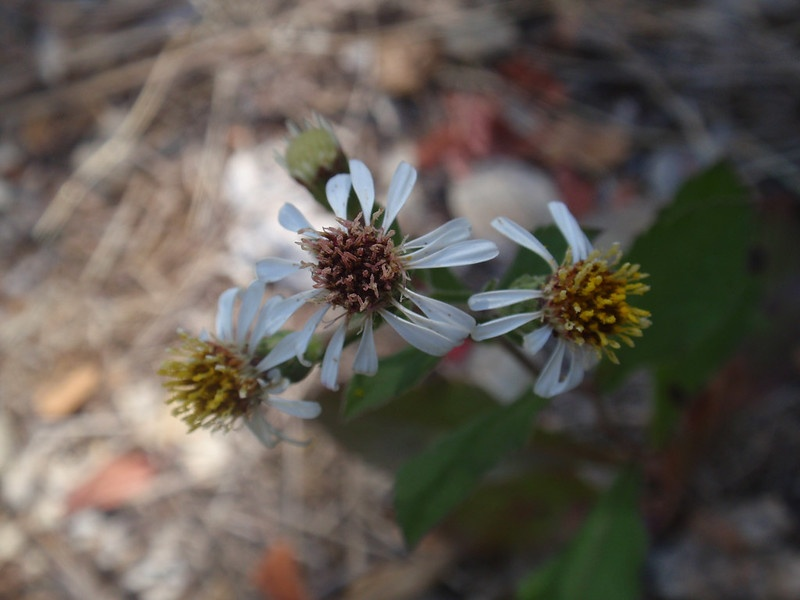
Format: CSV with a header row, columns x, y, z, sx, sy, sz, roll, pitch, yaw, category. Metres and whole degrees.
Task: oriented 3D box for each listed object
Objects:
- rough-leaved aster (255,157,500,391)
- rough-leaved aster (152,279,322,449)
x,y,z,sx,sy,sz,roll,pitch,yaw,category
-0.065,-0.019,1.837,0.537,0.379,0.506,17,64,13,rough-leaved aster
-0.364,0.196,1.956,0.386,0.214,0.400,-37,76,-12,rough-leaved aster
